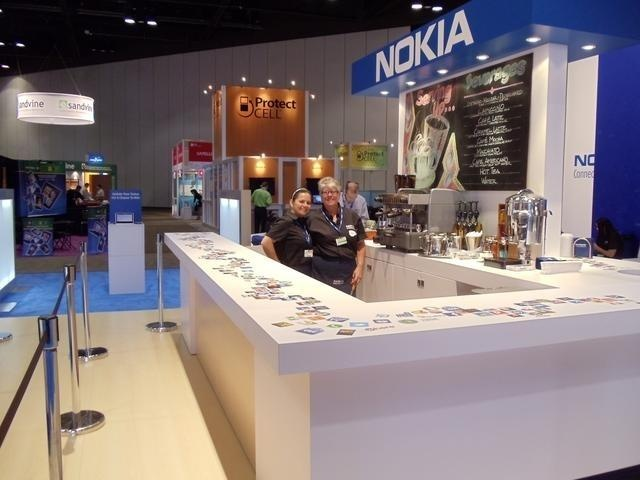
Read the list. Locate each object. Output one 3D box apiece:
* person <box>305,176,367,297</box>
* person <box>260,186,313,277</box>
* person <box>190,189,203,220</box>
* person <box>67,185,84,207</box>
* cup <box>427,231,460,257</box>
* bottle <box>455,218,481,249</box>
[{"bbox_3d":[0.173,-0.046,4.225,0.572,1.072,0.366,-4,6,-10],"label":"person"},{"bbox_3d":[-0.300,-0.063,4.102,0.458,0.782,0.324,-3,6,-8],"label":"person"},{"bbox_3d":[-5.459,-1.603,19.842,0.367,1.283,1.688,-4,6,-17],"label":"person"},{"bbox_3d":[-7.616,-1.287,13.866,0.412,0.527,0.794,-6,7,-30],"label":"person"},{"bbox_3d":[1.174,0.028,4.239,0.251,0.201,0.196,6,6,41],"label":"cup"},{"bbox_3d":[1.489,-0.094,4.438,0.289,0.329,0.276,-5,8,-29],"label":"bottle"}]
